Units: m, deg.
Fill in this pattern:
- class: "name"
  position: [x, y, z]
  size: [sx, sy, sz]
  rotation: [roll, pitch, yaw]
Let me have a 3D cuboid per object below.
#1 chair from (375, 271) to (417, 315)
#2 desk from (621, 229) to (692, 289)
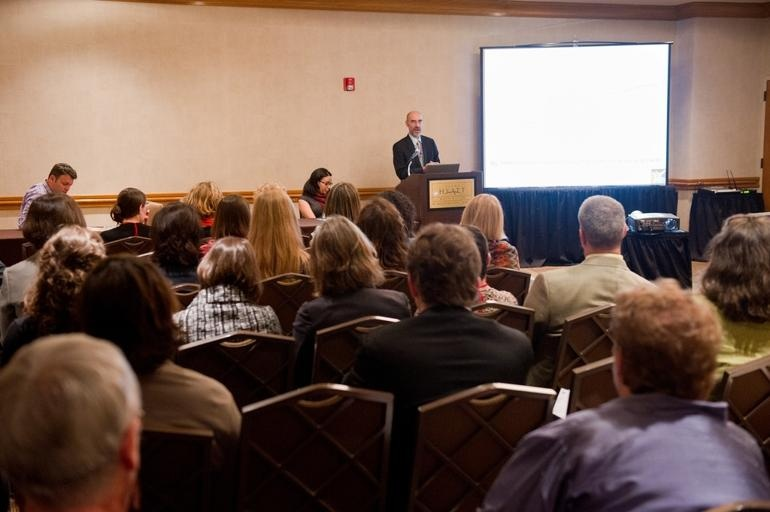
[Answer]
- class: "chair"
  position: [0.077, 0.196, 3.258]
  size: [0.219, 0.324, 0.256]
  rotation: [2, 7, 5]
- class: "desk"
  position: [2.410, 0.006, 4.896]
  size: [0.534, 0.541, 0.557]
  rotation: [-1, 3, 3]
